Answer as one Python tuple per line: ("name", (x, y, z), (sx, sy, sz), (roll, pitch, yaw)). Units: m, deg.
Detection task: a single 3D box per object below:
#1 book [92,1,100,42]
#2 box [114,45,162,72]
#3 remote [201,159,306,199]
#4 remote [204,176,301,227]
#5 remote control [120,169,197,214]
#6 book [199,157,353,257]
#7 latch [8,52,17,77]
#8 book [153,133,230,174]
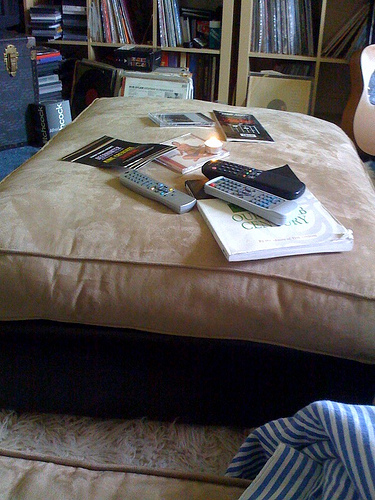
("book", (-0.550, -1.367, 2.411), (0.047, 0.199, 0.077), (-8, 23, -20))
("box", (-0.283, -1.091, 2.305), (0.220, 0.135, 0.202), (5, 22, 13))
("remote", (0.126, -0.150, 0.818), (0.233, 0.035, 0.074), (27, 49, 38))
("remote", (0.116, -0.088, 0.767), (0.184, 0.041, 0.077), (31, 48, 30))
("remote control", (-0.078, -0.121, 0.848), (0.218, 0.041, 0.062), (31, 53, 30))
("book", (0.144, -0.088, 0.756), (0.242, 0.104, 0.321), (0, 22, -2))
("latch", (-0.866, -0.917, 1.994), (0.012, 0.111, 0.044), (16, 27, 35))
("book", (-0.004, -0.249, 1.027), (0.148, 0.022, 0.144), (-16, 38, -24))
